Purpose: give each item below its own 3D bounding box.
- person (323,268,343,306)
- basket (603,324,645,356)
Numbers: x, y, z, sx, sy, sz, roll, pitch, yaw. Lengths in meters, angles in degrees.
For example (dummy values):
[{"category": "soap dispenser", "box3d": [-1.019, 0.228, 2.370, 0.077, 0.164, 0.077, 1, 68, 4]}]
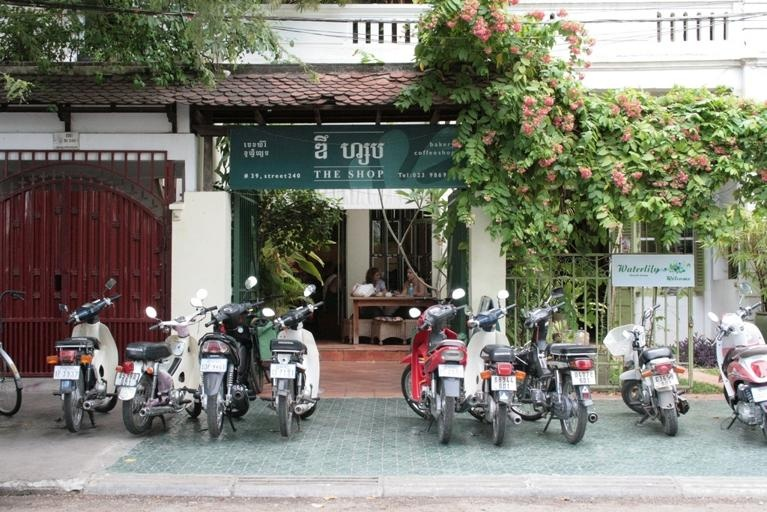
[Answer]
[{"category": "person", "box3d": [-1.145, 0.707, 19.639, 0.511, 0.752, 0.241, 3, -5, 20]}, {"category": "basket", "box3d": [3.396, 1.145, 12.155, 0.484, 0.370, 0.360, -20, -17, 19]}]
